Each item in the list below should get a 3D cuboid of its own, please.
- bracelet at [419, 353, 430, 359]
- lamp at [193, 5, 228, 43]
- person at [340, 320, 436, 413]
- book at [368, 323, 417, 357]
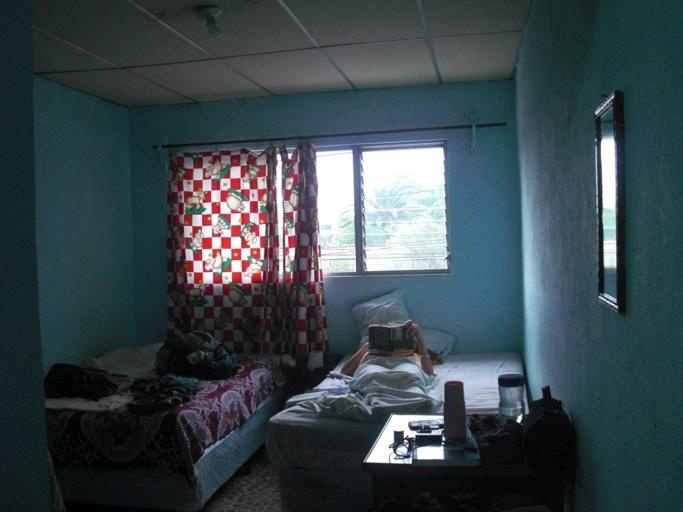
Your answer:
[{"bbox_3d":[0.578,0.691,3.686,0.040,0.029,0.040,-2,3,-1],"label":"bracelet"},{"bbox_3d":[-0.728,-1.308,2.958,0.136,0.145,0.124,-4,-1,-2],"label":"lamp"},{"bbox_3d":[0.285,0.686,3.433,0.659,0.431,1.092,1,0,11],"label":"person"},{"bbox_3d":[0.331,0.556,3.557,0.227,0.162,0.233,1,2,33],"label":"book"}]
